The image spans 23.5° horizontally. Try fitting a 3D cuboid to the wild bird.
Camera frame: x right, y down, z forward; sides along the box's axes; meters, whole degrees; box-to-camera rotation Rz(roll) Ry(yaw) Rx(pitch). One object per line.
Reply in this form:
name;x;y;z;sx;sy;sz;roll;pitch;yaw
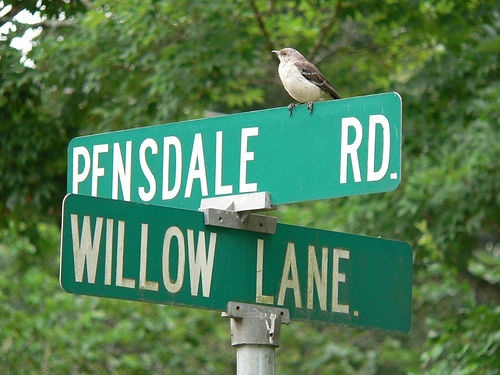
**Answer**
wild bird;0.538;-1.001;11.092;0.665;0.329;0.587;-4;86;-27
